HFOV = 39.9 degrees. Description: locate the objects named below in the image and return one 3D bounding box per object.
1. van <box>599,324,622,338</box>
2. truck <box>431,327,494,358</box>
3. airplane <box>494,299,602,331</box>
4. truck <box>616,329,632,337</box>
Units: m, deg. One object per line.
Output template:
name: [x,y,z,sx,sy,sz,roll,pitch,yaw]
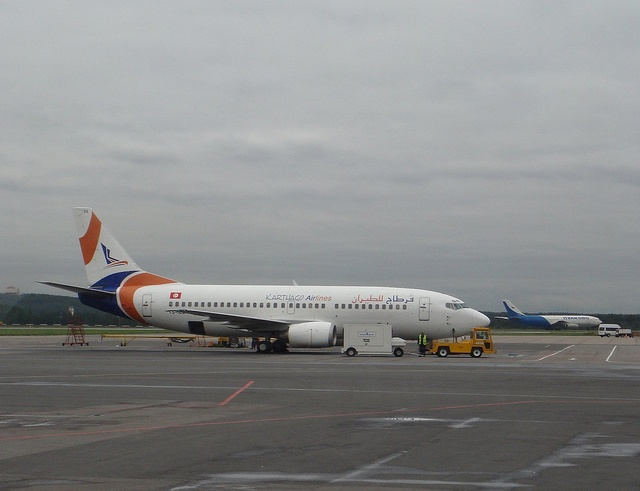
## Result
van: [39.948,11.895,120.886,4.114,1.387,2.313,-1,2,-13]
truck: [8.968,6.182,54.257,4.200,1.249,2.100,-1,-2,1]
airplane: [37.943,11.881,150.088,16.145,4.465,8.299,1,-4,-20]
truck: [41.759,12.002,121.321,2.887,0.935,1.218,1,-3,-13]
